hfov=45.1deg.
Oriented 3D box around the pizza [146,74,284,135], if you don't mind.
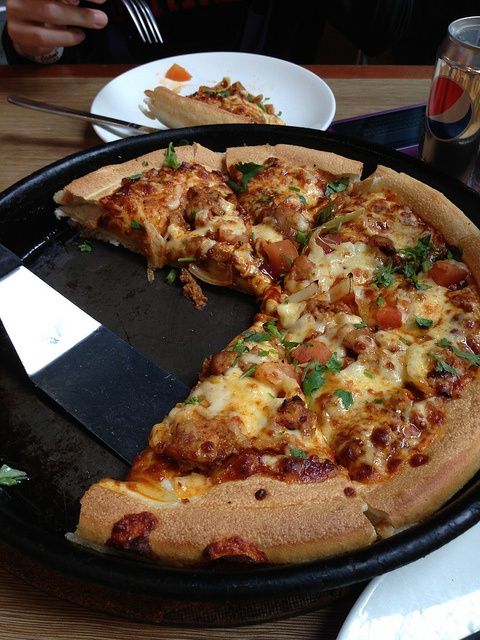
[{"bbox_3d":[-0.156,-1.159,3.136,0.552,0.182,0.402,26,46,24],"label":"pizza"}]
